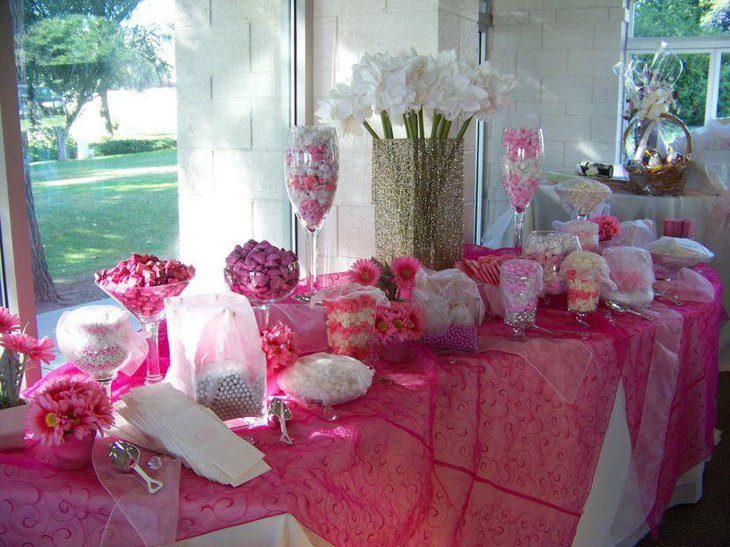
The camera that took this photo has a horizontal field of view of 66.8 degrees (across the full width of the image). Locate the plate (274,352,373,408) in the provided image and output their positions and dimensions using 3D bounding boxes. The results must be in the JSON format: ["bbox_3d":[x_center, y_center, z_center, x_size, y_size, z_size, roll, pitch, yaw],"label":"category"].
[{"bbox_3d":[-0.073,0.220,1.141,0.197,0.086,0.106,-9,17,-22],"label":"plate"}]

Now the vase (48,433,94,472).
[{"bbox_3d":[-0.496,0.299,0.936,0.072,0.061,0.077,1,-10,-4],"label":"vase"}]

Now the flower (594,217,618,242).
[{"bbox_3d":[0.832,-0.157,1.947,0.066,0.076,0.094,2,35,-2],"label":"flower"}]

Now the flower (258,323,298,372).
[{"bbox_3d":[-0.182,0.160,1.209,0.082,0.087,0.087,-1,-32,-25],"label":"flower"}]

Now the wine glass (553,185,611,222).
[{"bbox_3d":[0.770,-0.259,1.933,0.146,0.118,0.144,5,17,29],"label":"wine glass"}]

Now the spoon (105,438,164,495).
[{"bbox_3d":[-0.377,0.314,0.903,0.132,0.043,0.041,13,22,43],"label":"spoon"}]

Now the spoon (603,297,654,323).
[{"bbox_3d":[0.741,0.106,1.563,0.161,0.050,0.026,26,-10,1],"label":"spoon"}]

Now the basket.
[{"bbox_3d":[1.463,-0.612,2.746,0.305,0.415,0.311,-7,22,10],"label":"basket"}]

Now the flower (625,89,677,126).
[{"bbox_3d":[1.353,-0.842,2.611,0.207,0.232,0.102,11,-9,18],"label":"flower"}]

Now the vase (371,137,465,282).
[{"bbox_3d":[0.126,-0.201,1.709,0.280,0.421,0.284,11,-19,-31],"label":"vase"}]

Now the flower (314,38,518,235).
[{"bbox_3d":[0.137,-0.353,1.716,0.517,0.588,0.492,-5,11,-6],"label":"flower"}]

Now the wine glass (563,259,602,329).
[{"bbox_3d":[0.606,0.035,1.536,0.084,0.139,0.090,0,17,15],"label":"wine glass"}]

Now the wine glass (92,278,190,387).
[{"bbox_3d":[-0.422,0.108,1.168,0.190,0.236,0.201,1,6,-3],"label":"wine glass"}]

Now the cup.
[{"bbox_3d":[0.531,-0.050,1.650,0.159,0.186,0.166,-3,16,1],"label":"cup"}]

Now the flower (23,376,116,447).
[{"bbox_3d":[-0.490,0.210,0.932,0.098,0.108,0.065,0,-27,20],"label":"flower"}]

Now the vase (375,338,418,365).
[{"bbox_3d":[0.067,0.173,1.299,0.063,0.043,0.066,1,10,16],"label":"vase"}]

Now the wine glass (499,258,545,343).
[{"bbox_3d":[0.416,0.080,1.399,0.105,0.188,0.102,1,2,32],"label":"wine glass"}]

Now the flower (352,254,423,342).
[{"bbox_3d":[0.075,0.038,1.367,0.183,0.250,0.178,-10,8,-44],"label":"flower"}]
